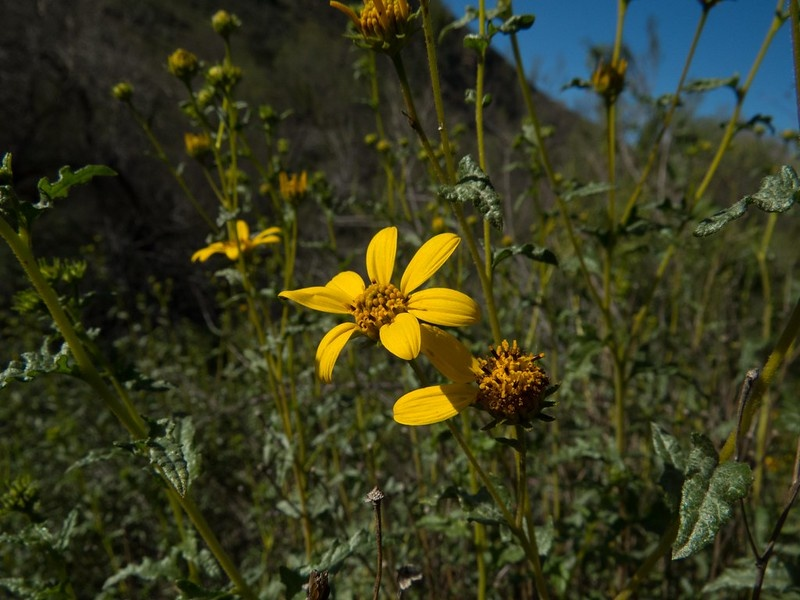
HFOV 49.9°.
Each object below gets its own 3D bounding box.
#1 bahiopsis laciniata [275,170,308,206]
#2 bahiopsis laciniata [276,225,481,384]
[{"bbox_3d":[-0.514,-0.545,4.175,0.134,0.193,0.149,-8,11,-33],"label":"bahiopsis laciniata"},{"bbox_3d":[-0.077,0.061,3.747,0.800,0.225,0.920,-27,-20,11],"label":"bahiopsis laciniata"}]
